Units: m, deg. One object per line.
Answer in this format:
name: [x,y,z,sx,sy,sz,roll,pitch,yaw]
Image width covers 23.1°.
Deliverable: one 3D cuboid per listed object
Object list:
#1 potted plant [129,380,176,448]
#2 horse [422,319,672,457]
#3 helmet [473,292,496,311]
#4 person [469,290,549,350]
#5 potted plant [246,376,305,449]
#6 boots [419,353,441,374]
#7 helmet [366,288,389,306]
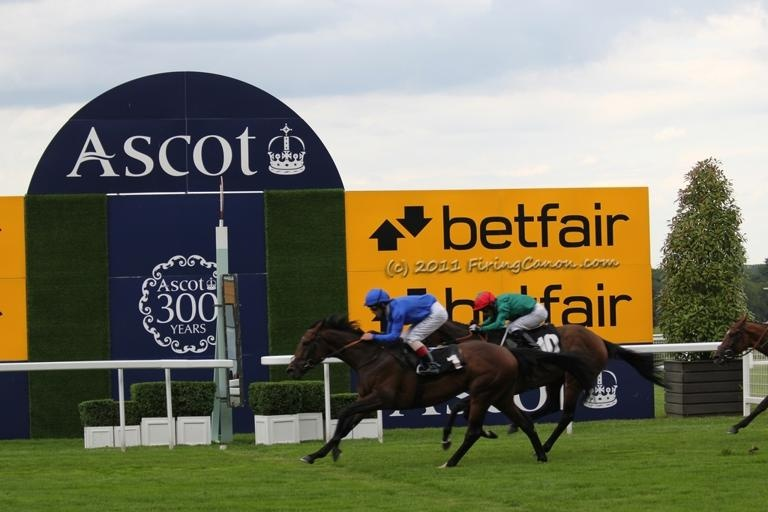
potted plant: [-3.159,2.157,25.991,0.740,0.811,0.259,-4,-6,-5]
horse: [1.936,1.585,24.676,4.259,1.898,0.775,-1,-2,-26]
helmet: [1.334,0.584,24.888,0.281,0.231,0.281,-2,-6,3]
person: [1.640,0.839,25.001,1.075,0.695,0.658,-1,5,-16]
potted plant: [-1.325,2.162,26.066,0.906,1.027,0.821,2,-11,-16]
boots: [0.564,1.378,23.916,0.356,0.278,0.193,2,-12,7]
helmet: [-0.087,0.529,24.192,0.292,0.126,0.200,-13,9,-31]
